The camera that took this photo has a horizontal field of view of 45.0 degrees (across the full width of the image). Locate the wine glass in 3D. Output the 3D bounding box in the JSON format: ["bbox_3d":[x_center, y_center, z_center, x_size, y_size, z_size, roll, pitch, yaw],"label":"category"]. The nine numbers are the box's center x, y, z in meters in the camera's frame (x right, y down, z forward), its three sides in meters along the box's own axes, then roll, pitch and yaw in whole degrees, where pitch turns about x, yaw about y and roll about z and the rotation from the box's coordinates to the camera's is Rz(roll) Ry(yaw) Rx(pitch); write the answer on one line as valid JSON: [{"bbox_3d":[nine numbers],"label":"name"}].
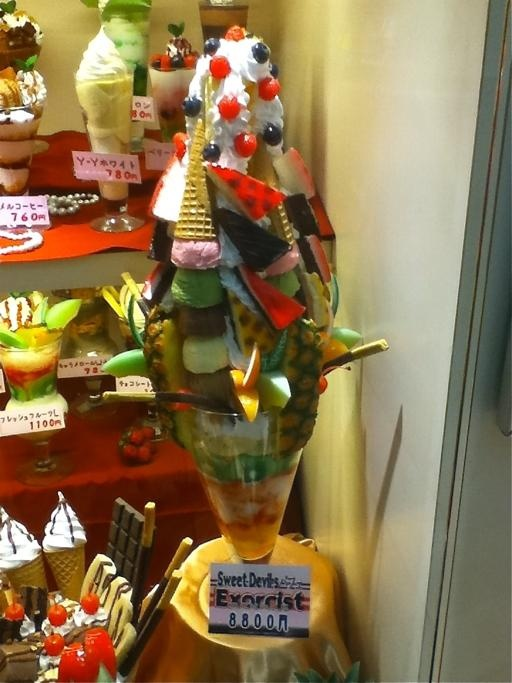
[{"bbox_3d":[-0.011,0.182,0.775,0.193,0.260,0.193,-4,18,-10],"label":"wine glass"}]

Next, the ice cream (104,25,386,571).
[{"bbox_3d":[-0.016,-0.002,0.754,0.332,0.692,0.270,-4,27,2],"label":"ice cream"}]

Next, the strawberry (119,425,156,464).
[{"bbox_3d":[-0.242,0.211,1.237,0.038,0.045,0.078,6,13,-8],"label":"strawberry"}]
